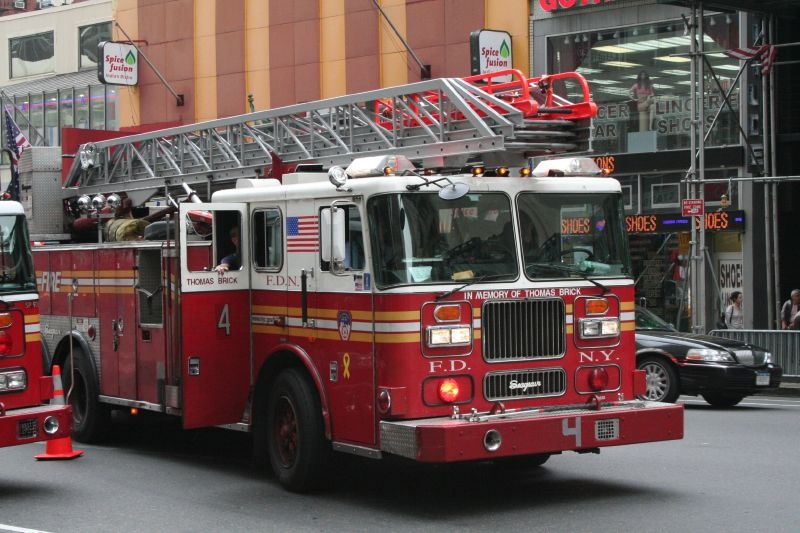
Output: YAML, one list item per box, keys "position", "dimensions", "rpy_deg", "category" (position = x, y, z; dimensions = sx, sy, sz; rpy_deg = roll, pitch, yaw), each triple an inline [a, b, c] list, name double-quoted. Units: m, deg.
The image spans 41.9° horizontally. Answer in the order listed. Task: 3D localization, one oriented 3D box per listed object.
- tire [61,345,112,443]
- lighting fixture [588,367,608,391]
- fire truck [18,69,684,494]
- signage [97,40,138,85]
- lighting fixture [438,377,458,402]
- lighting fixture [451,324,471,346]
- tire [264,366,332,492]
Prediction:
- position: [-4.803, 1.979, 16.084]
  dimensions: [0.405, 1.175, 1.129]
  rpy_deg: [6, -31, -45]
  category: "tire"
- position: [2.511, 1.427, 13.181]
  dimensions: [0.289, 0.303, 0.062]
  rpy_deg: [-4, 6, -31]
  category: "lighting fixture"
- position: [-1.936, 0.178, 16.118]
  dimensions: [4.851, 4.836, 10.359]
  rpy_deg: [1, -4, -39]
  category: "fire truck"
- position: [-9.948, -7.267, 36.999]
  dimensions: [1.534, 1.499, 0.532]
  rpy_deg: [4, -3, -39]
  category: "signage"
- position: [0.601, 1.482, 12.493]
  dimensions: [0.254, 0.269, 0.060]
  rpy_deg: [0, 0, -35]
  category: "lighting fixture"
- position: [0.725, 0.823, 12.546]
  dimensions: [0.239, 0.240, 0.108]
  rpy_deg: [0, -1, -25]
  category: "lighting fixture"
- position: [-1.318, 2.113, 13.463]
  dimensions: [0.392, 1.551, 1.044]
  rpy_deg: [-5, 6, -35]
  category: "tire"
